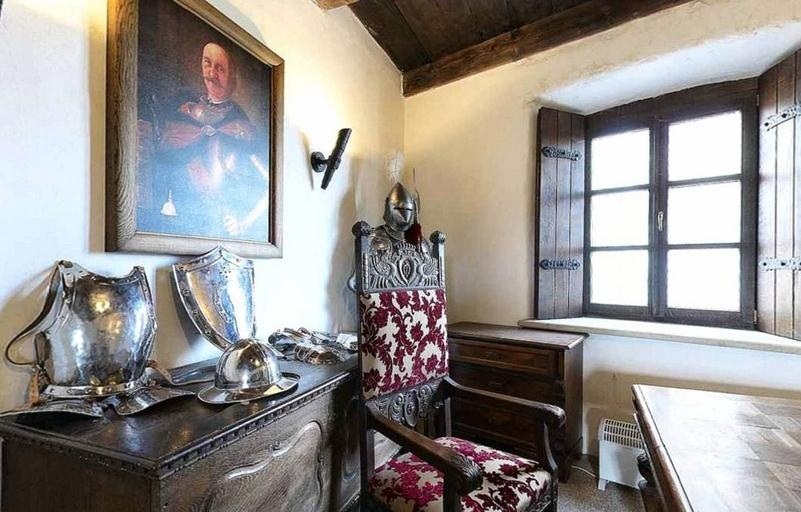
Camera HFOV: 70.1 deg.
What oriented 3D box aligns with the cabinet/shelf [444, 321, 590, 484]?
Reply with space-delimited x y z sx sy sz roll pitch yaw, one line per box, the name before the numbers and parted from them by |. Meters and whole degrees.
cabinet/shelf | 0.740 0.938 3.889 0.924 0.864 0.424 3 8 37
